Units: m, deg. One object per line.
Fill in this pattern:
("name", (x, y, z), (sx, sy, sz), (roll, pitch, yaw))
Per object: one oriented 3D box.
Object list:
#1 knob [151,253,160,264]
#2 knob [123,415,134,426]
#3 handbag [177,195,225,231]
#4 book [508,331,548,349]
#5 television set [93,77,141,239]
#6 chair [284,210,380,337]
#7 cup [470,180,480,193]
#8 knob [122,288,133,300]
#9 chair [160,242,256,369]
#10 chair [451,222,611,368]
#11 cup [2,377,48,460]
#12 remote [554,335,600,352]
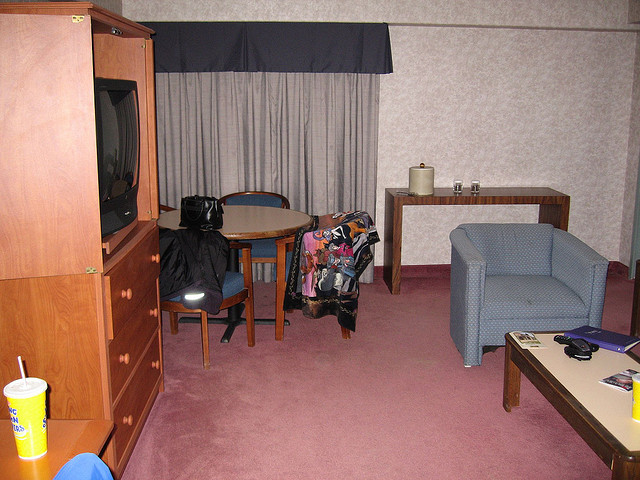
("knob", (-0.916, 0.097, 2.866), (0.037, 0.039, 0.038), (-5, 31, 2))
("knob", (-0.924, 0.887, 2.480), (0.026, 0.047, 0.057), (-2, -4, -7))
("handbag", (-0.854, -0.208, 3.677), (0.307, 0.228, 0.187), (5, 6, 24))
("book", (1.212, 0.580, 2.999), (0.156, 0.030, 0.253), (-1, 13, -2))
("television set", (-0.951, -0.413, 2.411), (0.144, 0.641, 0.589), (2, 15, -12))
("chair", (0.043, 0.271, 3.880), (0.722, 0.798, 0.610), (3, -6, 26))
("cup", (1.506, -0.532, 4.918), (0.112, 0.140, 0.108), (1, 2, 0))
("knob", (-0.903, 0.253, 2.400), (0.045, 0.041, 0.041), (-2, -23, 26))
("chair", (-0.771, 0.445, 3.648), (0.603, 0.800, 0.628), (-3, 14, -9))
("chair", (1.460, 0.383, 3.751), (0.918, 0.962, 0.935), (-2, 8, 3))
("cup", (-1.047, 0.649, 1.847), (0.126, 0.313, 0.105), (-10, 16, -34))
("remote", (1.465, 0.570, 2.911), (0.092, 0.046, 0.155), (-7, 11, -44))
